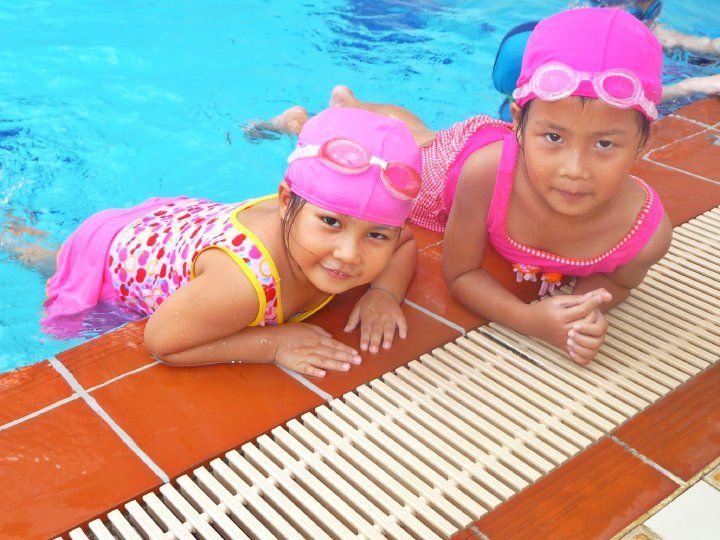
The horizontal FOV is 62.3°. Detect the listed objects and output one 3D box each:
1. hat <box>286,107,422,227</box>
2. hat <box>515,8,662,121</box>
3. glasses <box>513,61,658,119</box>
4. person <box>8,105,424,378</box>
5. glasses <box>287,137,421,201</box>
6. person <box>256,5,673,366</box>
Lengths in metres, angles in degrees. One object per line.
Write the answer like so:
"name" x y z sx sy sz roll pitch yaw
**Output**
"hat" 0.016 -0.294 1.767 0.418 0.236 0.456 20 4 42
"hat" 0.632 -0.579 1.622 0.381 0.331 0.193 11 4 12
"glasses" 0.624 -0.490 1.643 0.398 0.147 0.157 11 45 15
"person" -0.553 -0.116 1.978 1.384 0.557 0.751 15 23 27
"glasses" -0.024 -0.286 1.665 0.378 0.155 0.126 8 44 12
"person" 0.378 -0.414 2.090 1.103 0.800 1.429 -5 49 -8
